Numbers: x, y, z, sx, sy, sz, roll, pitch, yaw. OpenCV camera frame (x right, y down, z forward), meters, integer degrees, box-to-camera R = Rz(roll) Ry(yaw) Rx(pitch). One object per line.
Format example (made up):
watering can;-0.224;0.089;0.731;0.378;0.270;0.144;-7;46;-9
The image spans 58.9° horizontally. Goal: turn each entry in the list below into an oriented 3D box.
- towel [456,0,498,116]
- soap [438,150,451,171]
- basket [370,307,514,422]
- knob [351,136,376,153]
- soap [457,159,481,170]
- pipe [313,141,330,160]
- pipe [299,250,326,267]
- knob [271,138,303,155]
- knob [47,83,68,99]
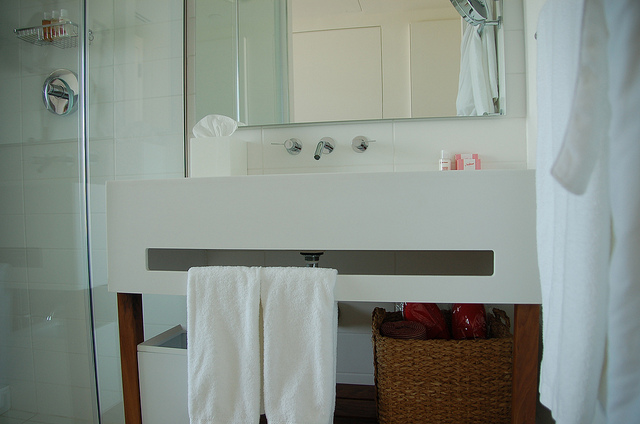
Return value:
towel;0.710;-0.635;2.542;0.177;0.404;0.012;1;1;-1
soap;0.559;-0.227;2.491;0.055;0.083;0.036;0;1;-8
basket;0.471;0.472;2.211;0.611;0.450;0.347;-1;2;10
knob;0.206;-0.311;2.615;0.109;0.073;0.027;1;1;7
soap;0.653;-0.207;2.475;0.072;0.038;0.073;-1;-1;3
pipe;0.006;-0.282;2.592;0.053;0.086;0.107;1;1;29
pipe;-0.026;0.173;2.128;0.093;0.066;0.072;1;0;0
knob;-0.143;-0.300;2.637;0.068;0.065;0.074;-22;1;13
knob;-1.022;-0.475;2.222;0.045;0.044;0.074;4;3;34
